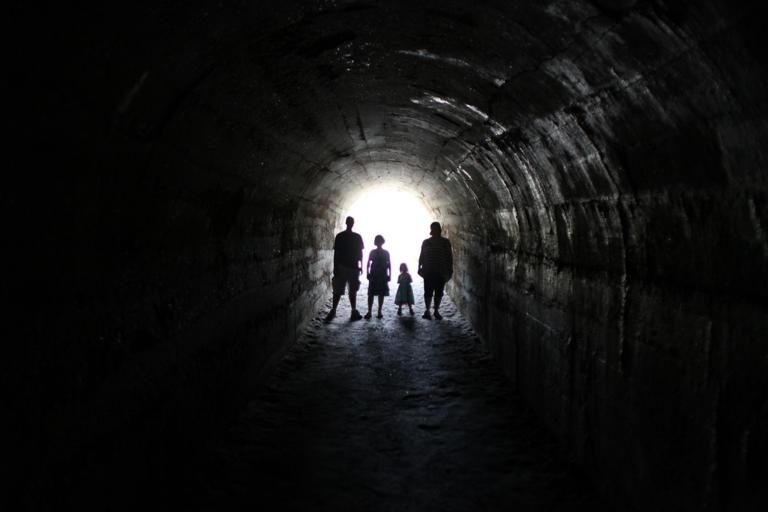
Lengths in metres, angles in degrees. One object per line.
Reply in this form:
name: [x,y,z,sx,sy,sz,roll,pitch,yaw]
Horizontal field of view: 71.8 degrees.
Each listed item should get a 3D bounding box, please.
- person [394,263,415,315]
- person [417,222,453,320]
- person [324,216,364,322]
person: [0.418,0.667,10.677,0.366,1.081,0.649,1,11,1]
person: [0.979,0.286,10.298,0.614,1.988,1.135,2,11,3]
person: [-0.749,0.254,10.235,0.688,2.029,1.405,0,11,-6]
